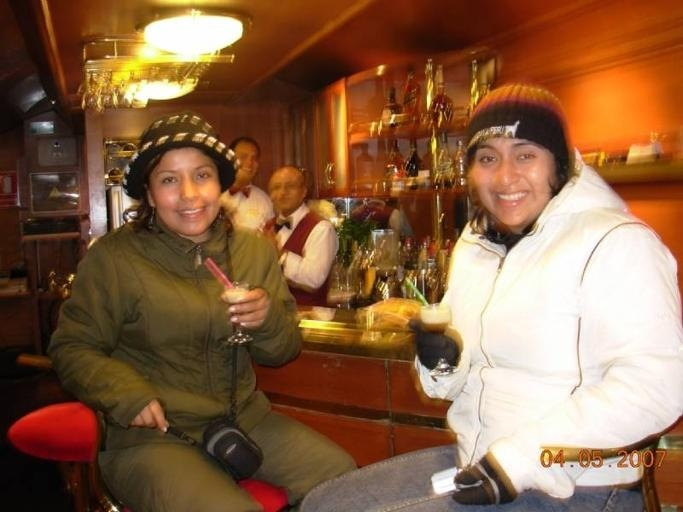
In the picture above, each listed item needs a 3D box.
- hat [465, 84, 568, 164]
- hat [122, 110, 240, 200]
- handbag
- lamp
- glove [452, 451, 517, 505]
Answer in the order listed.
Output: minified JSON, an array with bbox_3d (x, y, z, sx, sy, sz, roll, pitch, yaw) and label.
[{"bbox_3d":[0.630,-0.448,1.845,0.300,0.237,0.303,7,9,38],"label":"hat"},{"bbox_3d":[-0.712,-0.487,2.357,0.485,0.249,0.379,7,-24,-37],"label":"hat"},{"bbox_3d":[-0.439,0.769,2.035,0.162,0.240,0.131,-43,16,-6],"label":"handbag"},{"bbox_3d":[-1.168,-1.846,4.204,0.844,0.332,0.575,-4,10,-14],"label":"lamp"},{"bbox_3d":[0.430,0.662,1.547,0.179,0.152,0.051,0,10,12],"label":"glove"}]
